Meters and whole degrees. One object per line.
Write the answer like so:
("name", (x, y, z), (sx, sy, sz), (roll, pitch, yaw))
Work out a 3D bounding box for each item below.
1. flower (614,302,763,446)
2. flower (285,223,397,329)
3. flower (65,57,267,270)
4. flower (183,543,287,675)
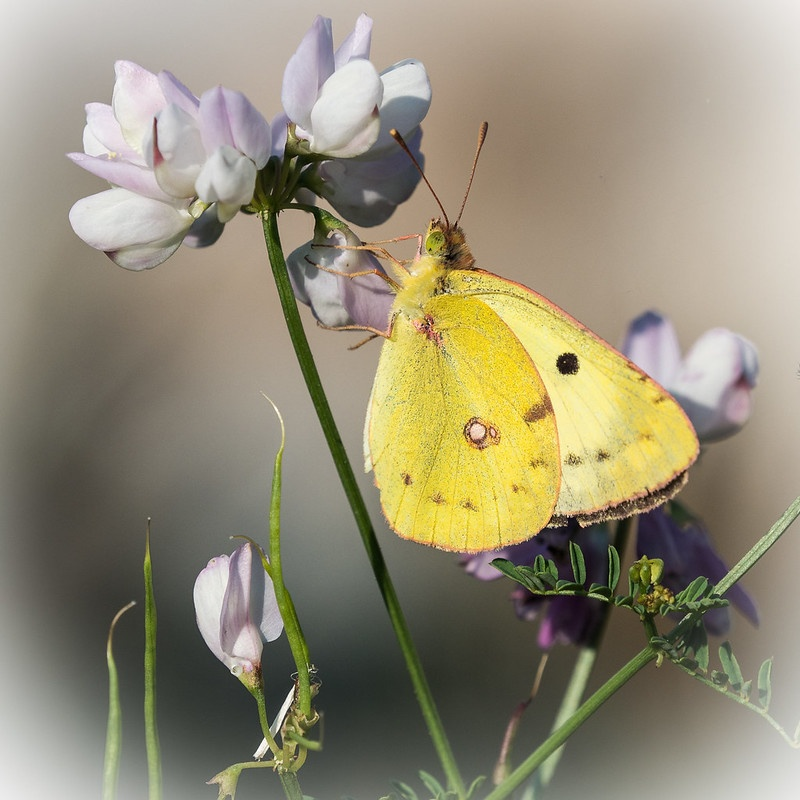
("flower", (0.424, -0.045, 1.599), (0.177, 0.200, 0.069), (-27, -68, 12))
("flower", (-0.075, -0.151, 1.607), (0.132, 0.065, 0.125), (-37, -57, -17))
("flower", (-0.270, -0.280, 1.406), (0.236, 0.220, 0.272), (5, -27, -22))
("flower", (-0.188, 0.248, 1.404), (0.087, 0.041, 0.182), (-2, -98, -31))
